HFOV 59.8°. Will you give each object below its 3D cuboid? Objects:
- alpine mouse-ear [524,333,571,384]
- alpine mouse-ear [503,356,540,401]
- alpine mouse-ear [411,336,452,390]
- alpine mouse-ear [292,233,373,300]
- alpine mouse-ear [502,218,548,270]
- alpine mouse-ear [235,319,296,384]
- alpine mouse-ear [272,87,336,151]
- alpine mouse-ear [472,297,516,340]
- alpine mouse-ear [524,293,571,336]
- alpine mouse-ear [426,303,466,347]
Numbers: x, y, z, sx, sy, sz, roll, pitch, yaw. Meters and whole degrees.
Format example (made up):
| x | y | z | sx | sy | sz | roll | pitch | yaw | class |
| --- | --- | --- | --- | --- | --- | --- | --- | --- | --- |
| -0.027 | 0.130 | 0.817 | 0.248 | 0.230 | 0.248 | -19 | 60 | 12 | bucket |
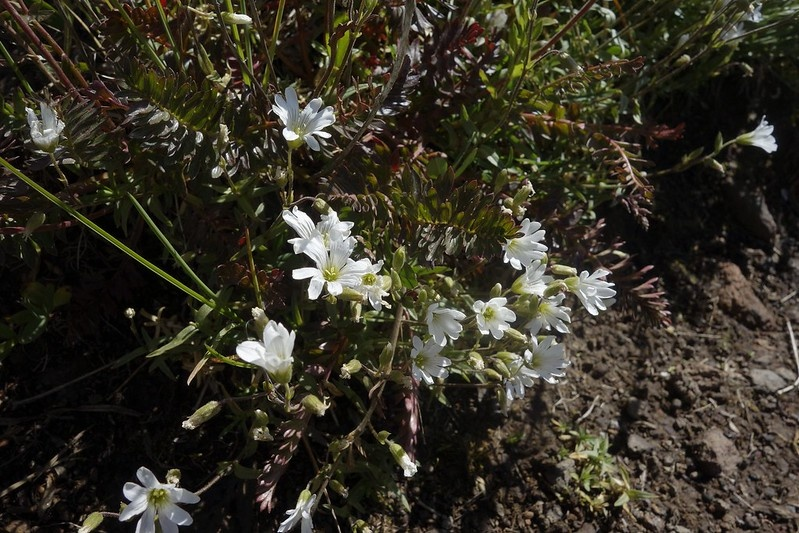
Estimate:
| x | y | z | sx | sy | sz | roll | pitch | yaw | class |
| --- | --- | --- | --- | --- | --- | --- | --- | --- | --- |
| 0.724 | 0.426 | 3.398 | 0.210 | 0.115 | 0.222 | 34 | 92 | 3 | alpine mouse-ear |
| 0.576 | 0.564 | 3.336 | 0.195 | 0.223 | 0.105 | -6 | 29 | -6 | alpine mouse-ear |
| 0.151 | 0.442 | 3.250 | 0.200 | 0.098 | 0.223 | 22 | 73 | -33 | alpine mouse-ear |
| -0.294 | 0.002 | 3.031 | 0.285 | 0.122 | 0.298 | 26 | 62 | -14 | alpine mouse-ear |
| 0.586 | -0.095 | 3.211 | 0.196 | 0.184 | 0.144 | -29 | 59 | -36 | alpine mouse-ear |
| -0.550 | 0.353 | 2.940 | 0.240 | 0.191 | 0.255 | 10 | 50 | 5 | alpine mouse-ear |
| -0.449 | -0.647 | 3.128 | 0.270 | 0.276 | 0.161 | 10 | 76 | -11 | alpine mouse-ear |
| 0.433 | 0.265 | 3.260 | 0.169 | 0.220 | 0.162 | -2 | 46 | -17 | alpine mouse-ear |
| 0.726 | 0.240 | 3.313 | 0.211 | 0.248 | 0.143 | 0 | 45 | -15 | alpine mouse-ear |
| 0.197 | 0.294 | 3.220 | 0.163 | 0.250 | 0.133 | 12 | 43 | -2 | alpine mouse-ear |
